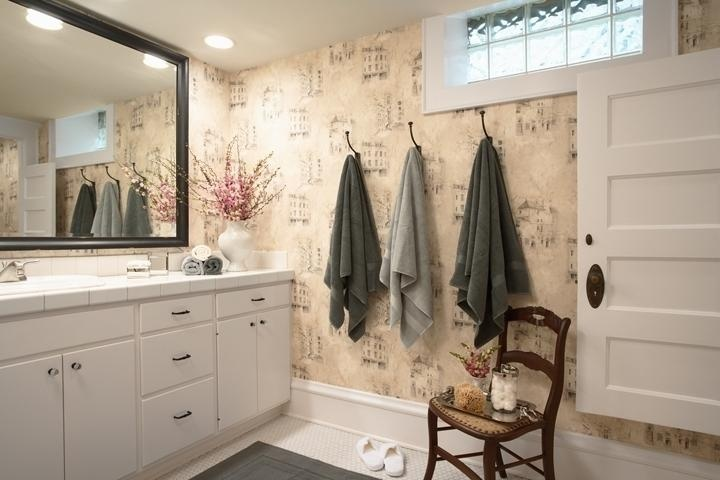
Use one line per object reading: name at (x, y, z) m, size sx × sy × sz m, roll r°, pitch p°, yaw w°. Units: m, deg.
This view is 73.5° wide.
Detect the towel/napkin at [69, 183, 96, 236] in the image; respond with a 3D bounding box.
towel/napkin at (-1.825, -0.197, 3.170) m, size 0.042 × 0.342 × 0.177 m, roll 6°, pitch 13°, yaw 29°

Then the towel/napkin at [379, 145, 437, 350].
towel/napkin at (0.321, 0.039, 3.292) m, size 0.355 × 1.325 × 0.375 m, roll 1°, pitch 11°, yaw 3°

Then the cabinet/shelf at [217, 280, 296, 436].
cabinet/shelf at (-0.956, 0.800, 3.662) m, size 0.521 × 0.996 × 0.673 m, roll 6°, pitch 8°, yaw 39°

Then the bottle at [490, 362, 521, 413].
bottle at (0.828, 0.857, 2.835) m, size 0.154 × 0.251 × 0.157 m, roll 12°, pitch -1°, yaw 0°

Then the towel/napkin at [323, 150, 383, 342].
towel/napkin at (-0.037, 0.063, 3.419) m, size 0.357 × 1.319 × 0.355 m, roll -10°, pitch 15°, yaw -40°

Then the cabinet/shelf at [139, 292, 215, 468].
cabinet/shelf at (-1.174, 0.848, 3.063) m, size 0.545 × 0.957 × 0.149 m, roll -11°, pitch 16°, yaw -43°

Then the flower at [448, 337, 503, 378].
flower at (0.725, 0.753, 3.069) m, size 0.239 × 0.202 × 0.276 m, roll 0°, pitch -9°, yaw 29°

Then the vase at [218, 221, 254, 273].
vase at (-0.950, 0.044, 3.734) m, size 0.304 × 0.374 × 0.300 m, roll 0°, pitch 0°, yaw 23°
